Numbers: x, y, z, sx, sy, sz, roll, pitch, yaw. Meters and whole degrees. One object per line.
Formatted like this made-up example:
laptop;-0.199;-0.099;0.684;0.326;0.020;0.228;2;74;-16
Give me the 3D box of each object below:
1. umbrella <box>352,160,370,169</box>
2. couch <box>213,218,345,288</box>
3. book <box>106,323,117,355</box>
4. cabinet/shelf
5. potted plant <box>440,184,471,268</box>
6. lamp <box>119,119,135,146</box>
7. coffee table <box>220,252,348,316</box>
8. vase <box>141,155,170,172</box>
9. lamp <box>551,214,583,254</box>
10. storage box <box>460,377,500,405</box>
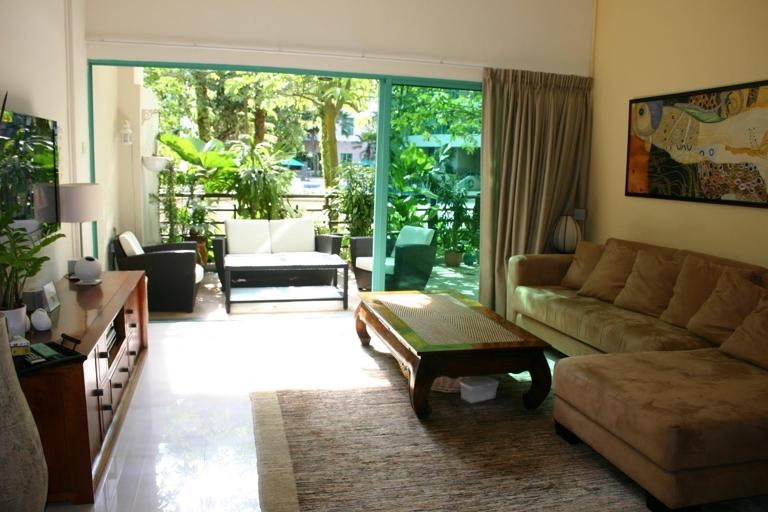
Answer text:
umbrella;-0.310;-1.413;8.171;0.234;0.168;0.236;6;9;38
couch;-1.542;-0.138;7.221;1.619;1.027;0.912;-1;3;-21
book;-2.005;0.601;3.908;0.068;0.226;0.159;5;51;-15
cabinet/shelf;-1.837;0.806;3.199;0.378;0.519;1.272;-2;13;-13
potted plant;0.843;-0.364;6.170;0.356;0.949;0.169;-1;15;-8
lamp;-3.318;-1.591;6.847;0.149;0.319;0.400;-6;16;-24
coffee table;-1.210;0.306;6.585;1.475;0.614;0.763;-2;15;-11
vase;-3.159;-1.284;7.350;0.270;0.164;0.264;2;7;9
lamp;2.075;-0.242;5.999;0.403;0.523;0.391;0;6;-1
storage box;0.757;1.037;4.158;0.271;0.125;0.177;-5;11;-23
